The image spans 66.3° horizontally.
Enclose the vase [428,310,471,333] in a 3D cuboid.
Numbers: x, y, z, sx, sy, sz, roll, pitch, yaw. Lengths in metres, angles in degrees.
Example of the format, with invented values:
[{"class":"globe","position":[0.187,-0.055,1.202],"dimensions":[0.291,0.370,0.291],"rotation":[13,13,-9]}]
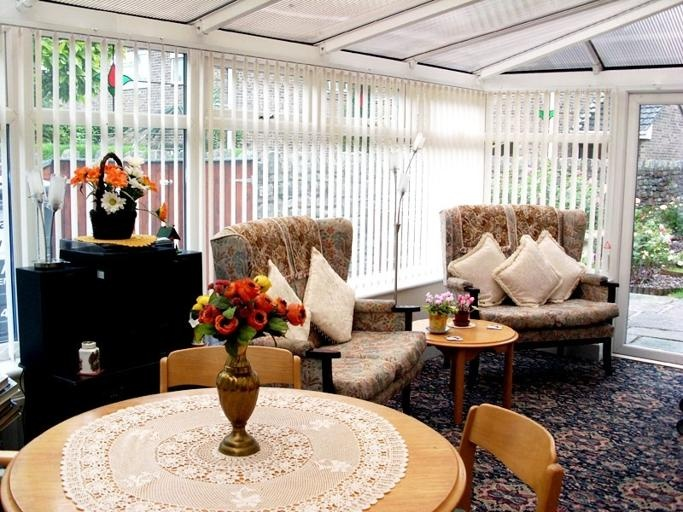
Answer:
[{"class":"vase","position":[0.860,0.518,4.123],"dimensions":[0.298,0.088,0.163],"rotation":[-3,7,-9]}]

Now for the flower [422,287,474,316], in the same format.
[{"class":"flower","position":[0.870,0.379,4.179],"dimensions":[0.369,0.141,0.280],"rotation":[0,1,-20]}]

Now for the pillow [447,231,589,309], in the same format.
[{"class":"pillow","position":[1.699,0.117,5.056],"dimensions":[1.340,0.646,0.558],"rotation":[-5,13,-31]}]

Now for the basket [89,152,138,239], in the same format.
[{"class":"basket","position":[-1.320,-0.347,3.026],"dimensions":[0.217,0.496,0.212],"rotation":[11,16,41]}]

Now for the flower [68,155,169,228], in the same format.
[{"class":"flower","position":[-1.267,-0.386,3.079],"dimensions":[0.590,0.264,0.374],"rotation":[17,12,-1]}]

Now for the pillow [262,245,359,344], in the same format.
[{"class":"pillow","position":[-0.107,0.286,3.623],"dimensions":[0.202,0.647,0.598],"rotation":[-21,36,29]}]

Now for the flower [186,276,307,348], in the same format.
[{"class":"flower","position":[-0.297,0.179,1.627],"dimensions":[0.278,0.165,0.270],"rotation":[-3,-4,29]}]

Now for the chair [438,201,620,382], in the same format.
[{"class":"chair","position":[1.791,0.276,5.111],"dimensions":[1.594,1.352,1.183],"rotation":[-2,16,-4]}]

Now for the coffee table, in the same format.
[{"class":"coffee table","position":[0.886,0.840,4.137],"dimensions":[0.813,0.497,0.757],"rotation":[-10,16,-38]}]

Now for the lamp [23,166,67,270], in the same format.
[{"class":"lamp","position":[-1.660,-0.225,3.001],"dimensions":[0.182,0.545,0.521],"rotation":[-5,13,-27]}]
